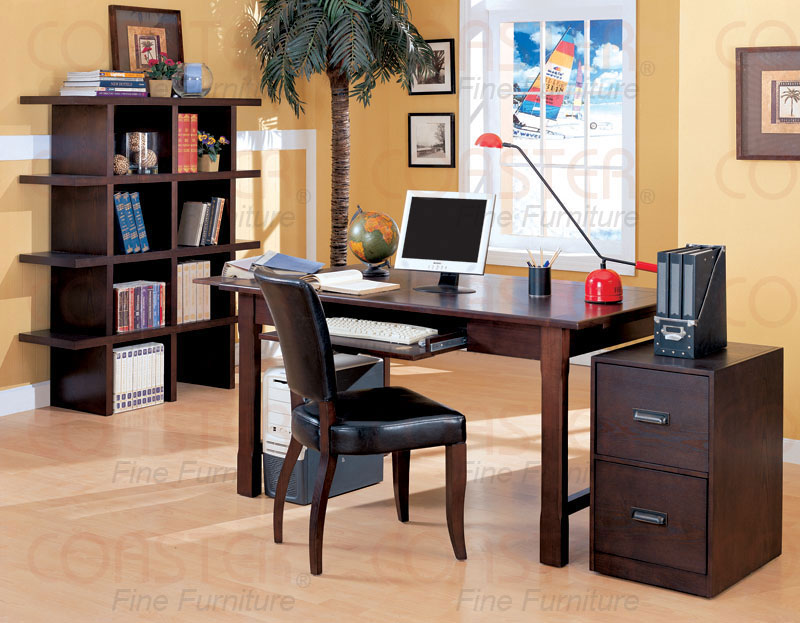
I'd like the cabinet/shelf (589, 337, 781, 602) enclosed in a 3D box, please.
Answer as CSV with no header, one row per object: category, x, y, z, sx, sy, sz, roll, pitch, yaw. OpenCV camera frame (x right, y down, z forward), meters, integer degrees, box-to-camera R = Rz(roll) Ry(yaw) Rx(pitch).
cabinet/shelf,0.951,0.476,2.773,0.745,0.976,0.655,-4,4,-44

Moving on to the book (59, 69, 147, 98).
book,-1.684,-1.278,4.300,0.251,0.064,0.246,2,7,33

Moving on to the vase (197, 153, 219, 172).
vase,-1.213,-0.922,4.824,0.128,0.097,0.105,0,-2,36

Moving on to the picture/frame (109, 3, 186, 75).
picture/frame,-1.600,-1.701,4.763,0.060,0.516,0.622,11,16,43

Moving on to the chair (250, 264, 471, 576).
chair,-0.165,0.280,3.173,0.980,1.436,0.870,-4,8,-22

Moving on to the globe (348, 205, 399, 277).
globe,-0.130,-0.329,3.515,0.256,0.301,0.245,5,17,16

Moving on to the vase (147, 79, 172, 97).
vase,-1.459,-1.339,4.631,0.120,0.099,0.118,1,8,-2

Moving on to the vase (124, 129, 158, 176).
vase,-1.501,-0.933,4.456,0.246,0.268,0.243,-3,11,-18

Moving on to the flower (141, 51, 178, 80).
flower,-1.494,-1.519,4.721,0.214,0.135,0.213,-7,-2,16

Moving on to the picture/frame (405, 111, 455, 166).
picture/frame,0.244,-1.358,5.962,0.443,0.433,0.031,3,7,29
